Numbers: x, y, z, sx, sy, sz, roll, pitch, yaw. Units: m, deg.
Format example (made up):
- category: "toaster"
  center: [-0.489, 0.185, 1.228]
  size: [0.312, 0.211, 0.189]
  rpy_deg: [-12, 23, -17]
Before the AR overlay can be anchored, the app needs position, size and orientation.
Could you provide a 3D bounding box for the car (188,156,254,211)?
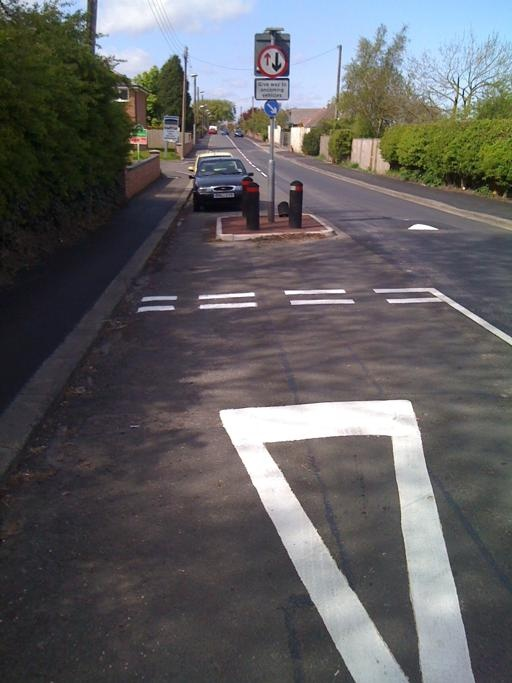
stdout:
- category: "car"
  center: [-1.227, -5.105, 18.762]
  size: [1.682, 1.647, 2.728]
  rpy_deg: [-2, 16, -6]
